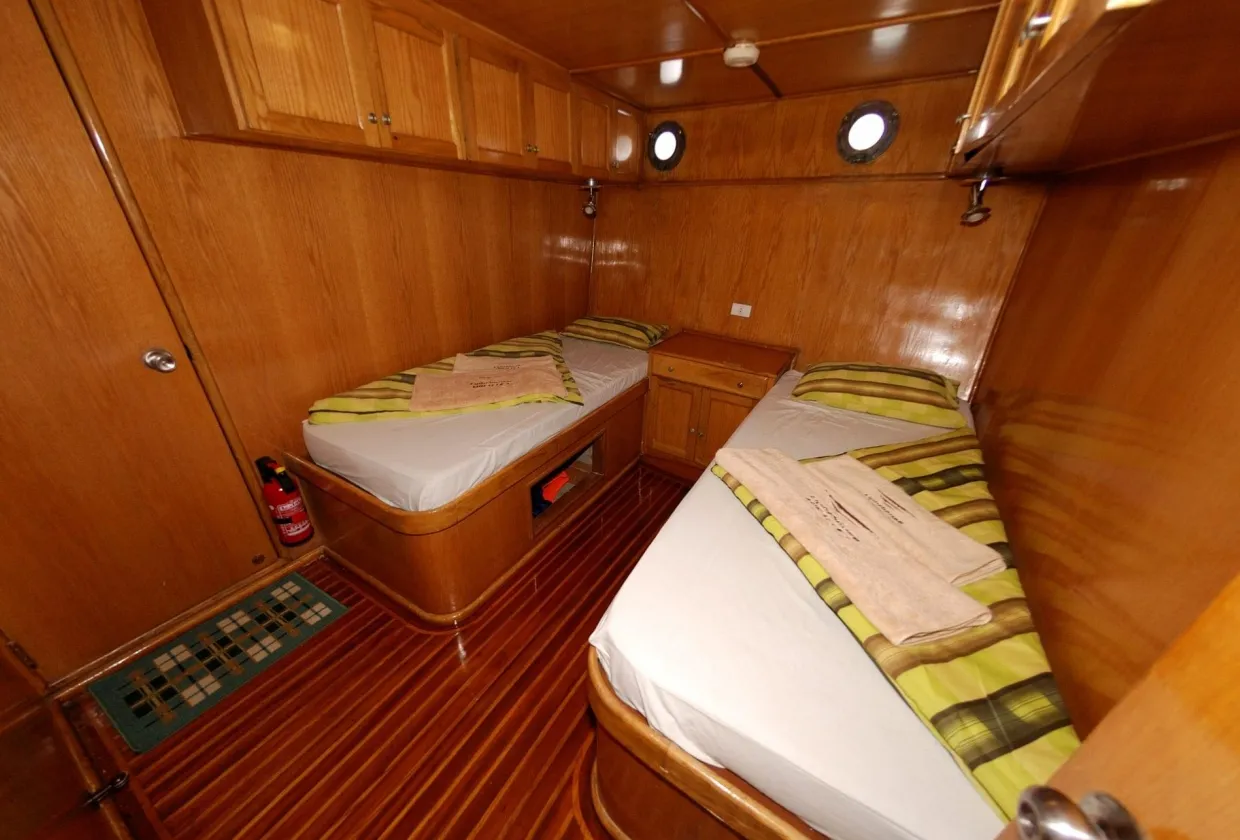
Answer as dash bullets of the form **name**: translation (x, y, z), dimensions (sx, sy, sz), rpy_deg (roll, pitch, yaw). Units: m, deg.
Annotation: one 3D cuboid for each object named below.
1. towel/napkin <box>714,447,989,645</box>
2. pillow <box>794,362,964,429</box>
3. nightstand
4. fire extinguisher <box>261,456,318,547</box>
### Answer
- **towel/napkin**: translation (1.012, 0.422, 3.010), dimensions (0.792, 0.171, 1.197), rpy_deg (-12, 31, -26)
- **pillow**: translation (1.402, -0.202, 4.108), dimensions (0.895, 0.199, 0.731), rpy_deg (11, 24, 32)
- **nightstand**: translation (0.668, -0.188, 4.705), dimensions (0.861, 0.825, 0.737), rpy_deg (12, 18, 23)
- **fire extinguisher**: translation (-1.659, 0.397, 3.626), dimensions (0.146, 0.505, 0.142), rpy_deg (5, 25, 29)
